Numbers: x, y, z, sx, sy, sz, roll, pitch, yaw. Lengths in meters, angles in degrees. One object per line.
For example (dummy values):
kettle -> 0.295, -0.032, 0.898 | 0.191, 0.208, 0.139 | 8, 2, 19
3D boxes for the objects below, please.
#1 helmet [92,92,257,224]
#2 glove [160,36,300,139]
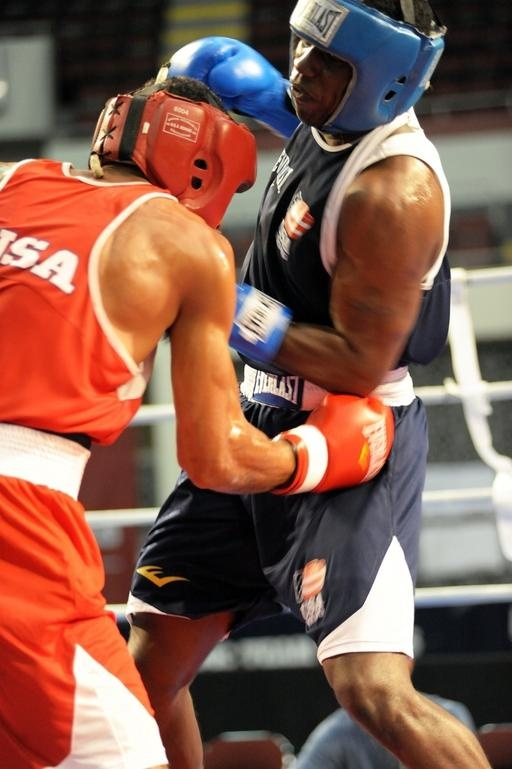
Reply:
helmet -> -0.138, -0.347, 1.370 | 0.273, 0.201, 0.204 | 6, 11, -25
glove -> -0.050, -0.628, 1.755 | 0.155, 0.112, 0.302 | 2, 38, -21
